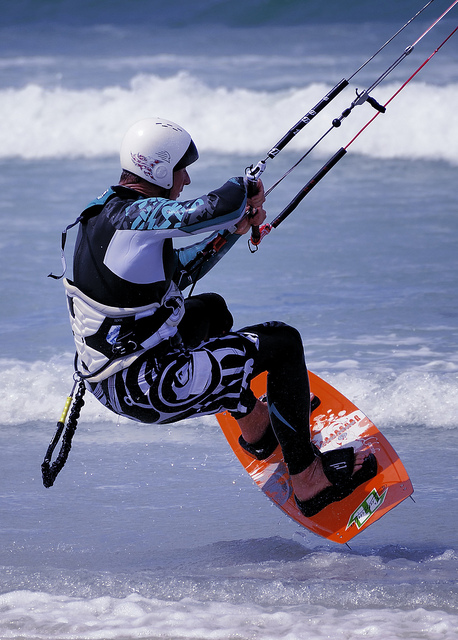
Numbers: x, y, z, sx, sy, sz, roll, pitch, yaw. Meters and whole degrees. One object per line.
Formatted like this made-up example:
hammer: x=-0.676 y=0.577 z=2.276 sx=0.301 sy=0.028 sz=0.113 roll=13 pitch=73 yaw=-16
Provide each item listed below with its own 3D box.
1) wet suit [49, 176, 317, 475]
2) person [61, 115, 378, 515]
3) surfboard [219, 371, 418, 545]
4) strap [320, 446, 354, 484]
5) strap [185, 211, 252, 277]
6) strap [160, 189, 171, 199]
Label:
wet suit: x=-0.192 y=0.081 z=5.022 sx=0.735 sy=1.557 sz=1.012 roll=12 pitch=20 yaw=43
person: x=-0.103 y=0.061 z=5.085 sx=0.706 sy=2.106 sz=1.248 roll=12 pitch=20 yaw=43
surfboard: x=0.390 y=0.671 z=5.622 sx=0.716 sy=1.649 sz=0.234 roll=-43 pitch=40 yaw=-6
strap: x=0.581 y=0.774 z=5.473 sx=0.222 sy=0.200 sz=0.171 roll=-3 pitch=-7 yaw=-2
strap: x=-0.041 y=-0.386 z=5.169 sx=0.485 sy=0.079 sz=0.071 roll=-38 pitch=22 yaw=-10
strap: x=-0.299 y=-0.596 z=4.827 sx=0.036 sy=0.041 sz=0.013 roll=0 pitch=41 yaw=-8
